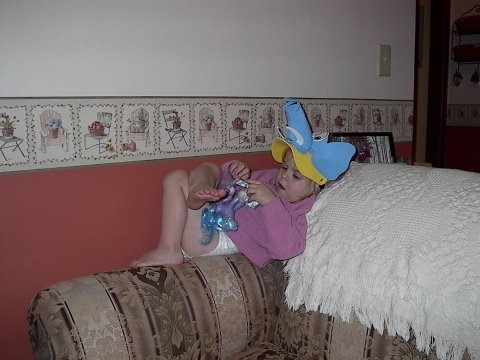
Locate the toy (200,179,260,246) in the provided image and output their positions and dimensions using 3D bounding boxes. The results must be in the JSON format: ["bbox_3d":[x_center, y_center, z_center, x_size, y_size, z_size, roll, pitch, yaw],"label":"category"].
[{"bbox_3d":[-0.058,0.135,1.529,0.265,0.195,0.091,-38,8,-31],"label":"toy"}]

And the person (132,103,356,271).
[{"bbox_3d":[-0.007,0.041,1.540,0.852,0.686,0.700,-10,27,-25],"label":"person"}]
